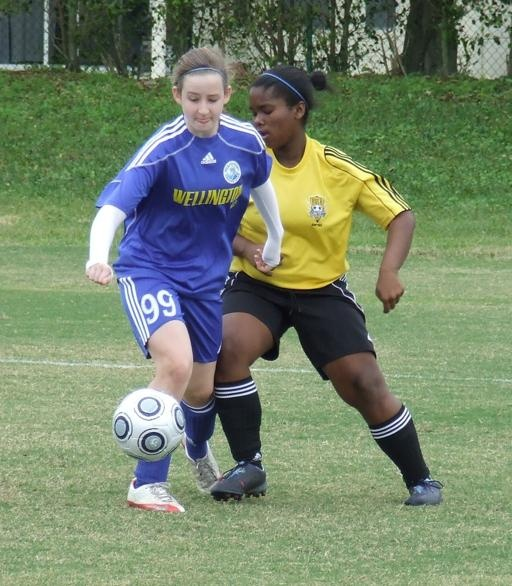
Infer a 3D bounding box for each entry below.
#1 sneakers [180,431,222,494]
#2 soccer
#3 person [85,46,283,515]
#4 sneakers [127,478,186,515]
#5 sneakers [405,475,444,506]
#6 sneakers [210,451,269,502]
[{"bbox_3d":[-0.202,0.699,4.644,0.210,0.081,0.074,48,27,14],"label":"sneakers"},{"bbox_3d":[-0.373,0.483,4.084,0.202,0.287,0.175,6,11,22],"label":"soccer"},{"bbox_3d":[-0.291,-0.046,4.292,0.505,1.704,0.999,5,11,18],"label":"person"},{"bbox_3d":[-0.353,0.735,4.172,0.186,0.083,0.200,-2,10,-23],"label":"sneakers"},{"bbox_3d":[0.637,0.747,4.361,0.137,0.075,0.179,3,10,9],"label":"sneakers"},{"bbox_3d":[-0.061,0.704,4.487,0.126,0.180,0.331,-2,-5,28],"label":"sneakers"}]
